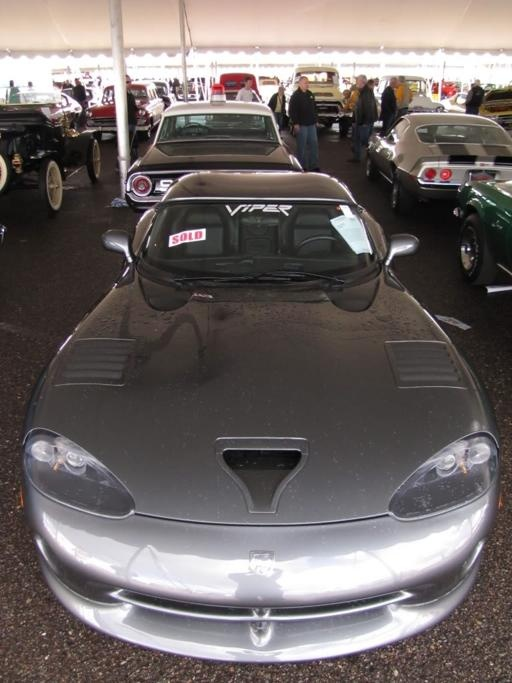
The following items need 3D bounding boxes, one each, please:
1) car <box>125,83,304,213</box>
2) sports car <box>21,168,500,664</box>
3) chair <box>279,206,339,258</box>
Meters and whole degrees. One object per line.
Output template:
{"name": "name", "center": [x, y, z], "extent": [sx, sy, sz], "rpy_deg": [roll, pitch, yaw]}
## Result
{"name": "car", "center": [-0.625, -2.530, 6.543], "extent": [1.680, 0.833, 2.634], "rpy_deg": [0, 33, -1]}
{"name": "sports car", "center": [0.032, 0.260, 1.994], "extent": [1.170, 0.669, 2.246], "rpy_deg": [1, 37, 1]}
{"name": "chair", "center": [0.301, -0.625, 2.958], "extent": [0.259, 0.321, 0.349], "rpy_deg": [1, 12, 3]}
